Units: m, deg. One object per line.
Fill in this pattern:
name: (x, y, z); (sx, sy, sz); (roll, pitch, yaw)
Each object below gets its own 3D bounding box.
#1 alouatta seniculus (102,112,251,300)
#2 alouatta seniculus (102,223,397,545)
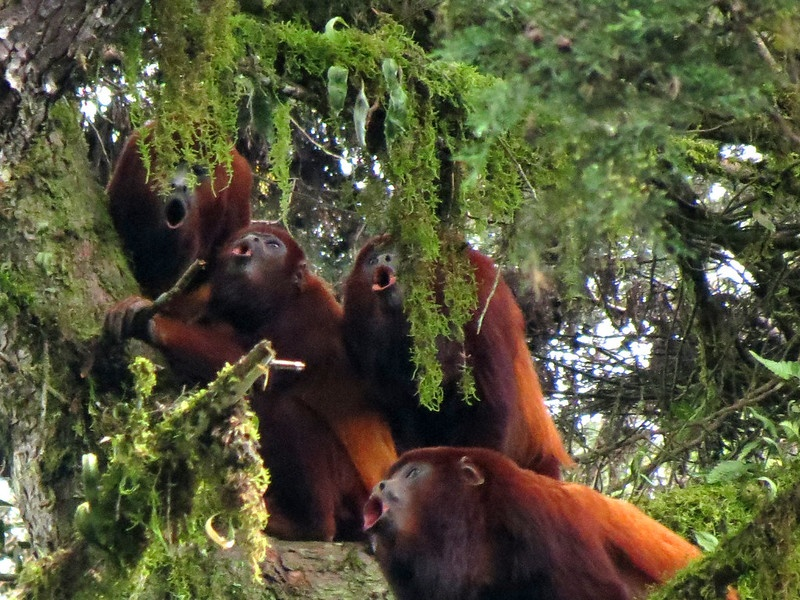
alouatta seniculus: (-0.843, -0.294, 5.354); (0.379, 0.801, 0.301); (-4, 6, -32)
alouatta seniculus: (-0.420, 0.339, 5.070); (0.596, 1.257, 0.795); (0, 1, 11)
